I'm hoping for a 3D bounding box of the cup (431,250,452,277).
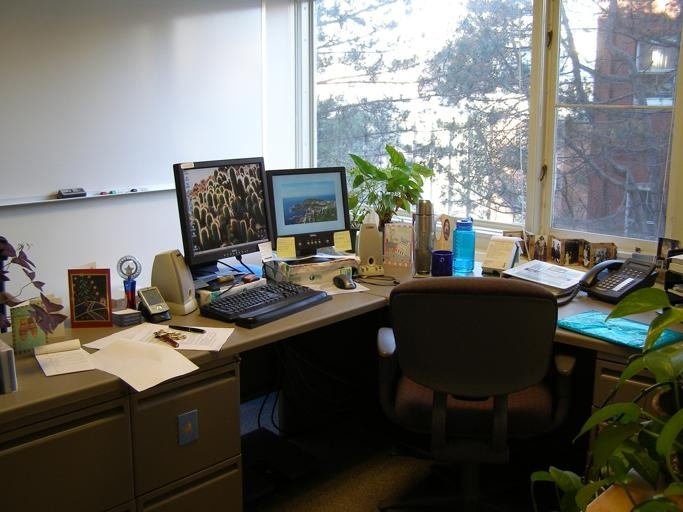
[{"bbox_3d":[0.483,0.037,2.528,0.117,0.116,0.093,0,1,-25],"label":"cup"}]

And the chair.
[{"bbox_3d":[0.464,0.405,2.062,0.703,1.049,0.689,0,15,7],"label":"chair"}]

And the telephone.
[{"bbox_3d":[1.211,0.093,2.298,0.335,0.104,0.259,-20,21,-38],"label":"telephone"}]

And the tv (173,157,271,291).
[{"bbox_3d":[-0.546,-0.147,2.395,0.267,0.596,0.498,13,21,41],"label":"tv"}]

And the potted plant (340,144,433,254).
[{"bbox_3d":[0.255,-0.397,3.195,0.551,0.464,0.545,-8,26,-34],"label":"potted plant"}]
